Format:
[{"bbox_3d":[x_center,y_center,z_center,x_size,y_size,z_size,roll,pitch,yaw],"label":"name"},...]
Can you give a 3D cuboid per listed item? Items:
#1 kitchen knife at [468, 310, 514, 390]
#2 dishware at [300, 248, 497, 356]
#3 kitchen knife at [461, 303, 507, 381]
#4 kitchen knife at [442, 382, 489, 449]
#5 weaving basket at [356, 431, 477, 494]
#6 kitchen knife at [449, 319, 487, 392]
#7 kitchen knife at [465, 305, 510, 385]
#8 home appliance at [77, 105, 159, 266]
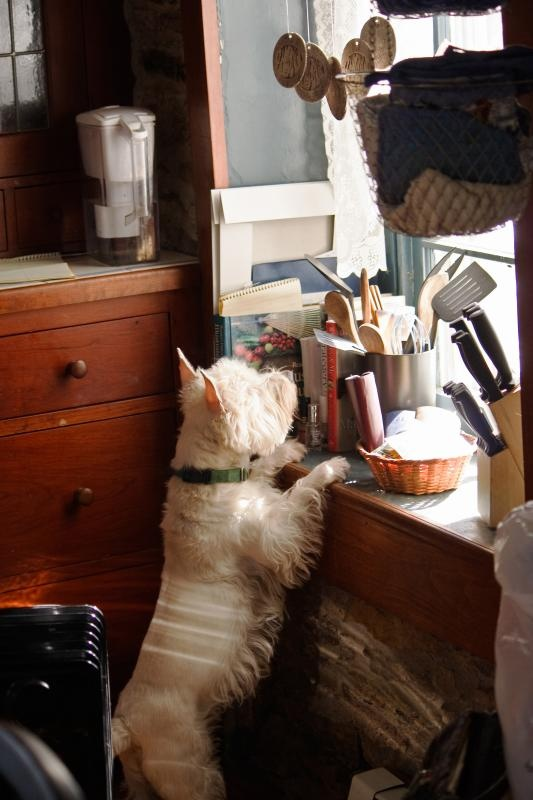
[{"bbox_3d":[0.350,-0.079,1.003,0.051,0.146,0.037,-17,7,34],"label":"kitchen knife"},{"bbox_3d":[0.290,-0.169,1.301,0.305,0.205,0.114,-9,-34,31],"label":"dishware"},{"bbox_3d":[0.355,-0.083,0.999,0.038,0.148,0.039,-24,11,-23],"label":"kitchen knife"},{"bbox_3d":[0.319,0.040,0.992,0.032,0.135,0.035,-37,15,7],"label":"kitchen knife"},{"bbox_3d":[0.270,0.116,1.196,0.218,0.095,0.226,9,-19,1],"label":"weaving basket"},{"bbox_3d":[0.318,-0.056,0.981,0.032,0.125,0.032,-16,13,48],"label":"kitchen knife"},{"bbox_3d":[0.342,-0.080,0.996,0.040,0.157,0.040,-19,-1,-45],"label":"kitchen knife"},{"bbox_3d":[-0.403,-0.540,1.628,0.287,0.375,0.147,7,17,32],"label":"home appliance"}]
